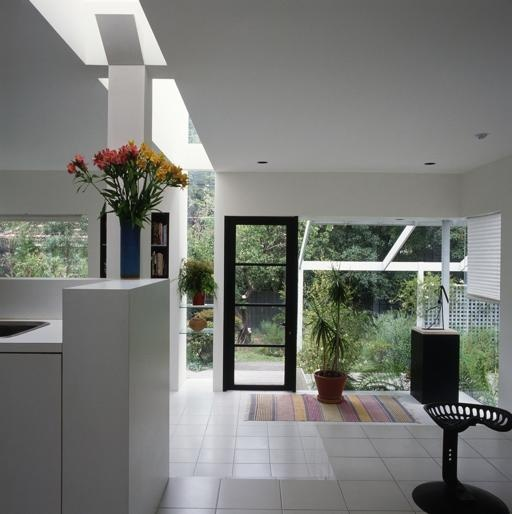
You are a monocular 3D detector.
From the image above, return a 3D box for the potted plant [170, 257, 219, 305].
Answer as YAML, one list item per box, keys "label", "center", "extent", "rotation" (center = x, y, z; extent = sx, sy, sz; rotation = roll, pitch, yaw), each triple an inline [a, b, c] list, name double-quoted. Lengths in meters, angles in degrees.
- label: "potted plant"
  center: [-0.701, 0.288, 5.116]
  extent: [0.496, 0.535, 0.359]
  rotation: [0, -2, 11]

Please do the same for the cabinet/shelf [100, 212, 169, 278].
- label: "cabinet/shelf"
  center: [-1.132, -0.100, 4.735]
  extent: [0.270, 0.811, 0.780]
  rotation: [22, 2, -3]

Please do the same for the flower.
- label: "flower"
  center: [-0.624, -0.392, 2.270]
  extent: [0.463, 0.375, 0.543]
  rotation: [8, 5, -2]

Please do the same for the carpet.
- label: "carpet"
  center: [0.750, 1.586, 4.592]
  extent: [1.664, 0.044, 0.909]
  rotation: [1, -3, -1]

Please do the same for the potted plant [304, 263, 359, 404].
- label: "potted plant"
  center: [0.908, 0.892, 5.187]
  extent: [0.680, 1.474, 1.130]
  rotation: [0, -2, 7]
